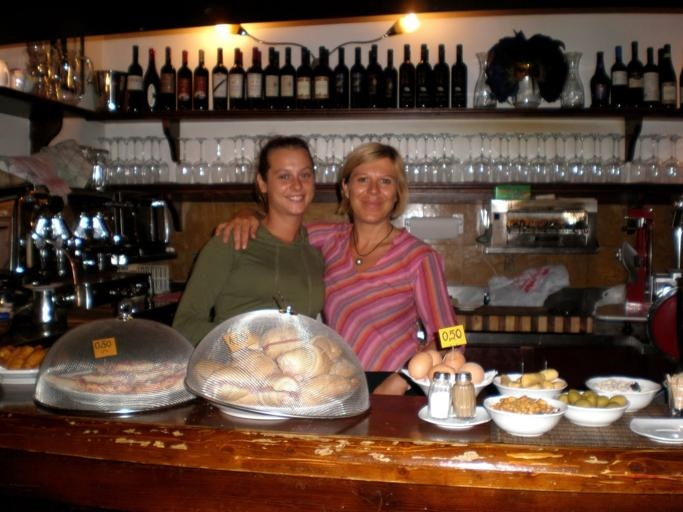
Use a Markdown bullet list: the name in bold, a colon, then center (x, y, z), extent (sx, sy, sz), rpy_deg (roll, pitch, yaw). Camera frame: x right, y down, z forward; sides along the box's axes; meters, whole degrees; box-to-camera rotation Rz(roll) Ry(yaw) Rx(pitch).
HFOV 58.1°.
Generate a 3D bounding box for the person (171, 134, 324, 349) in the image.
- **person**: center (-0.337, -0.089, 2.356), extent (0.392, 0.740, 0.602), rpy_deg (0, 8, 28)

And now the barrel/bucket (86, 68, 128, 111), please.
- **barrel/bucket**: center (-1.544, -1.106, 4.172), extent (0.256, 0.296, 0.272), rpy_deg (2, 7, 0)

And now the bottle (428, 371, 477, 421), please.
- **bottle**: center (0.291, 0.397, 1.723), extent (0.152, 0.154, 0.087), rpy_deg (-1, -1, 4)

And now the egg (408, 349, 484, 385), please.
- **egg**: center (0.323, 0.329, 1.918), extent (0.157, 0.064, 0.122), rpy_deg (-3, -5, 37)
